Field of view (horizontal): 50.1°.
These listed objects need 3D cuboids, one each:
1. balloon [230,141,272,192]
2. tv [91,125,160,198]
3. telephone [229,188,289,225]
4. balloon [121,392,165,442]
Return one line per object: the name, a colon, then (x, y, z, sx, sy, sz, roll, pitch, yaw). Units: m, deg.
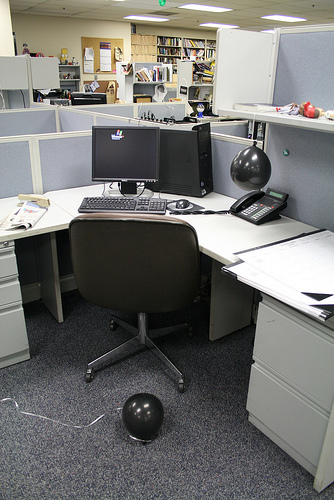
balloon: (0.289, -0.300, 1.294, 0.141, 0.192, 0.151, 6, 14, 11)
tv: (-0.214, -0.471, 1.866, 0.360, 0.400, 0.127, 3, 15, 4)
telephone: (0.408, -0.204, 1.599, 0.171, 0.112, 0.231, -13, 21, -18)
balloon: (-0.080, 0.567, 1.214, 0.137, 0.125, 0.106, -7, 22, -13)
